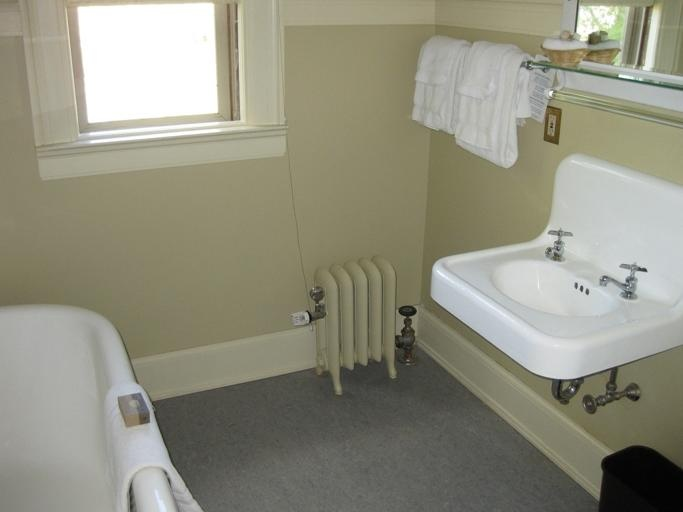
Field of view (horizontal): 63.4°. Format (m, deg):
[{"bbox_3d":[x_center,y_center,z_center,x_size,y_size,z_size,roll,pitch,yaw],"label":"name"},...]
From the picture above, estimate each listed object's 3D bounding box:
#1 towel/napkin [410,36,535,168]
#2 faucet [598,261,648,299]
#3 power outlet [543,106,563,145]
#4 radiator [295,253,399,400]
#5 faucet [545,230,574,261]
[{"bbox_3d":[0.640,-0.762,2.647,0.170,0.454,0.616,-14,33,-22],"label":"towel/napkin"},{"bbox_3d":[1.091,0.067,2.140,0.151,0.121,0.164,19,33,39],"label":"faucet"},{"bbox_3d":[0.965,-0.599,2.534,0.014,0.165,0.097,-13,25,-25],"label":"power outlet"},{"bbox_3d":[0.025,0.401,3.205,0.548,0.636,0.307,-13,30,-21],"label":"radiator"},{"bbox_3d":[0.932,-0.049,2.372,0.094,0.134,0.107,4,3,9],"label":"faucet"}]
